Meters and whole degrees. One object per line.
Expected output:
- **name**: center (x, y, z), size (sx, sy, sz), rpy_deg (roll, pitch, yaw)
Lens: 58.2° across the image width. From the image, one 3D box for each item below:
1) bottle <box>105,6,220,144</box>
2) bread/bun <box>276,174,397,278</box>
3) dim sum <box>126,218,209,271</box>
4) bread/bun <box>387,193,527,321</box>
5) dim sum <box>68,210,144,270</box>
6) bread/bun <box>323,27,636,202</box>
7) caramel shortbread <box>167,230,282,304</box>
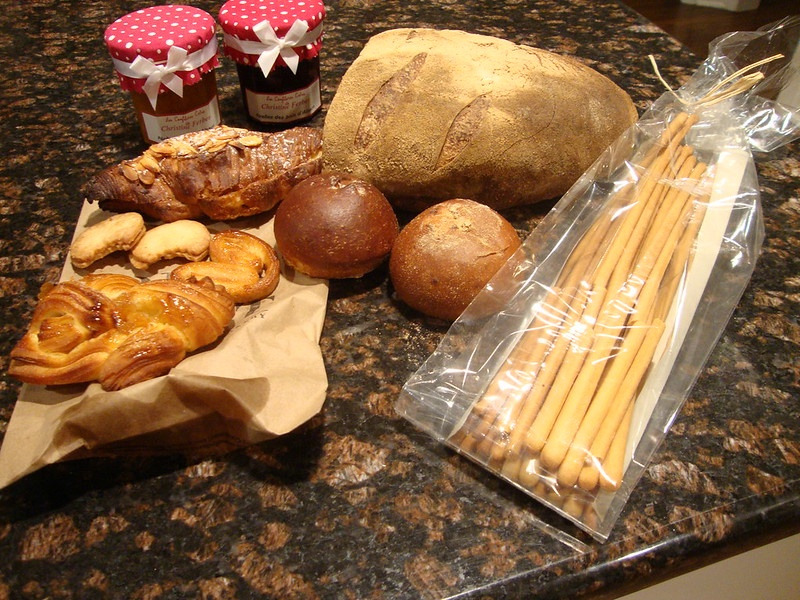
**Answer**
- **bottle**: center (-0.348, -0.357, 1.119), size (0.151, 0.172, 0.192), rpy_deg (14, 50, 8)
- **bread/bun**: center (-0.083, -0.091, 0.985), size (0.158, 0.081, 0.136), rpy_deg (-10, 50, -16)
- **dim sum**: center (-0.317, -0.088, 0.979), size (0.080, 0.023, 0.077), rpy_deg (-8, 30, -4)
- **bread/bun**: center (0.089, -0.066, 0.965), size (0.208, 0.104, 0.174), rpy_deg (-10, 41, 14)
- **dim sum**: center (-0.398, -0.082, 1.003), size (0.094, 0.027, 0.067), rpy_deg (-21, 44, -10)
- **bread/bun**: center (0.104, -0.261, 1.018), size (0.380, 0.119, 0.233), rpy_deg (5, 56, 2)
- **caramel shortbread**: center (-0.220, -0.047, 0.962), size (0.112, 0.024, 0.107), rpy_deg (28, 46, 19)
